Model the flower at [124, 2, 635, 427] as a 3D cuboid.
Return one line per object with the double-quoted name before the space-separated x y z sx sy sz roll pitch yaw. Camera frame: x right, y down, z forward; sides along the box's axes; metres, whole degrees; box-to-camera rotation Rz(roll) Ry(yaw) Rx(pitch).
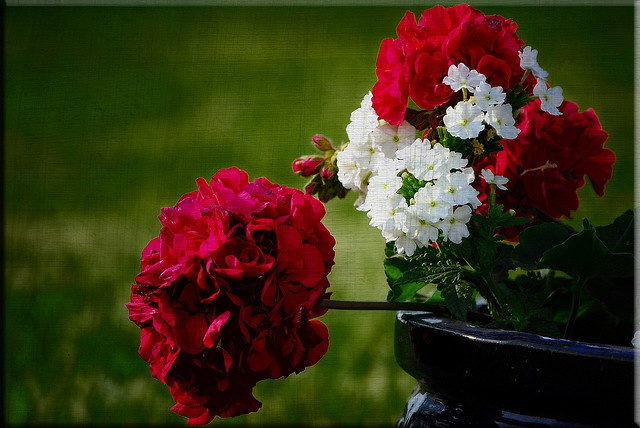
"flower" 0.168 0.030 1.409 0.631 0.678 0.761 -1 0 11
